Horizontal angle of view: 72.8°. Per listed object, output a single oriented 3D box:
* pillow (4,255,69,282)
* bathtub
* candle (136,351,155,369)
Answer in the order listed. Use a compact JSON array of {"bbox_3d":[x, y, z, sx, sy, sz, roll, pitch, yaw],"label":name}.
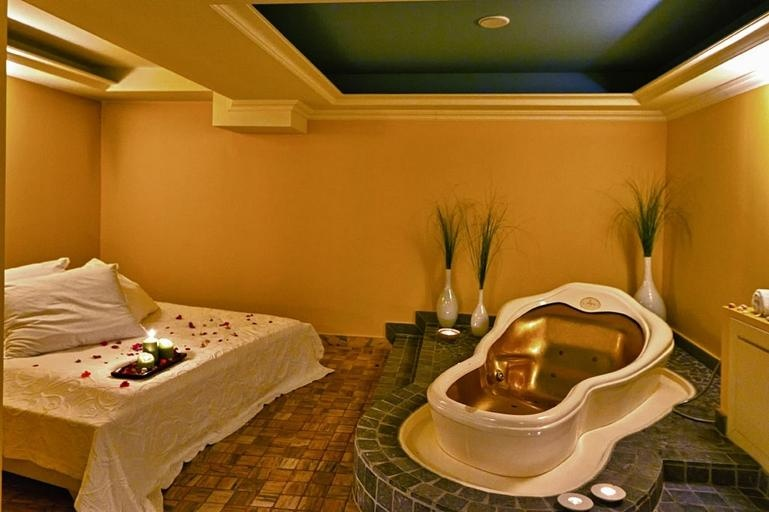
[{"bbox_3d":[-2.672,0.107,4.004,0.498,0.122,0.526,-7,3,40],"label":"pillow"},{"bbox_3d":[1.147,0.847,3.331,1.028,0.468,1.574,8,20,39],"label":"bathtub"},{"bbox_3d":[-1.553,0.667,3.384,0.096,0.065,0.097,13,14,31],"label":"candle"}]
